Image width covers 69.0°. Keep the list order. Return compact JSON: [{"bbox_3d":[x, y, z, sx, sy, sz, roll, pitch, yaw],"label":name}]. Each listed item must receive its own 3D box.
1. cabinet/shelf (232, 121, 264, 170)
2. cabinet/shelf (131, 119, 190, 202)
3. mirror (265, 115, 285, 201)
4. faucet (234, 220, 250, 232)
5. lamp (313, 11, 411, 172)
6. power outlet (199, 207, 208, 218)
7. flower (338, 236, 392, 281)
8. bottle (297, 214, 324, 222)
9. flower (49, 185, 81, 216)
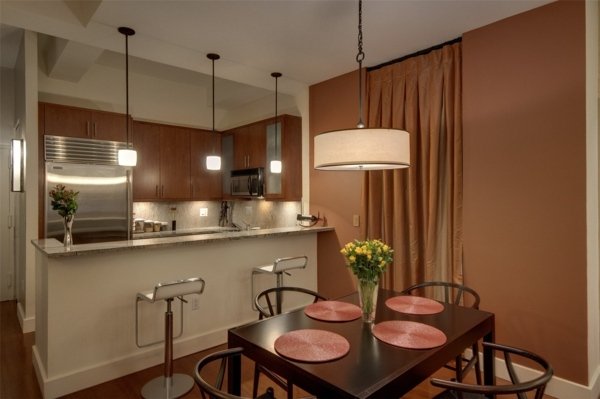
[{"bbox_3d":[-0.743,-0.781,6.946,0.825,0.742,0.287,-1,-1,41],"label":"cabinet/shelf"},{"bbox_3d":[-2.136,-0.606,6.858,0.888,1.151,0.394,1,5,0],"label":"cabinet/shelf"},{"bbox_3d":[-0.378,-0.508,6.344,0.023,1.100,0.432,8,10,36],"label":"mirror"},{"bbox_3d":[-0.996,0.446,7.427,0.299,0.096,0.196,-1,13,-18],"label":"faucet"},{"bbox_3d":[0.503,-1.096,4.181,0.819,1.635,1.227,-2,2,-3],"label":"lamp"},{"bbox_3d":[-1.662,0.227,7.490,0.155,0.152,0.020,17,-11,-40],"label":"power outlet"},{"bbox_3d":[0.596,0.450,3.861,0.420,0.422,0.425,2,3,36],"label":"flower"},{"bbox_3d":[0.124,0.264,6.014,0.322,0.105,0.157,-1,2,27],"label":"bottle"},{"bbox_3d":[-2.474,0.016,4.585,0.230,0.339,0.218,-2,2,-18],"label":"flower"}]
